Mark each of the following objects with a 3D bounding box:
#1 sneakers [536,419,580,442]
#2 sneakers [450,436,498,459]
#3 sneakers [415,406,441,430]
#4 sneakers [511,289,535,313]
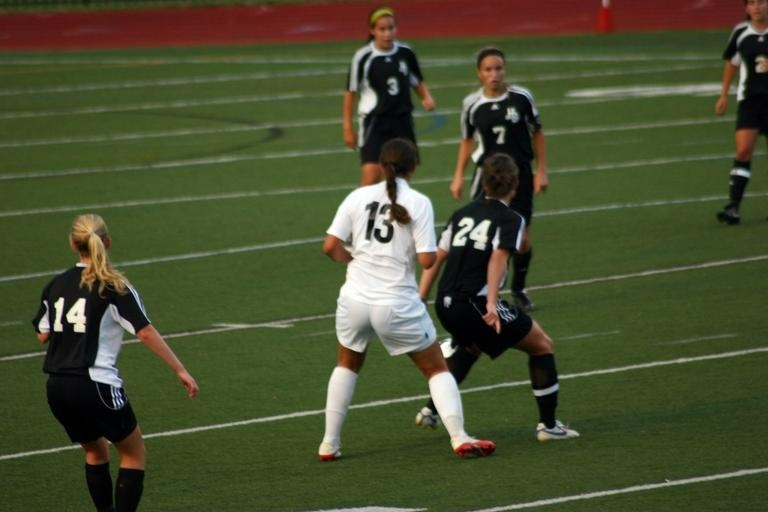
[{"bbox_3d":[1.882,1.920,15.262,0.554,0.204,0.187,-1,4,-12],"label":"sneakers"},{"bbox_3d":[0.987,2.033,14.869,0.451,0.202,0.221,1,22,-13],"label":"sneakers"},{"bbox_3d":[0.497,1.794,15.362,0.203,0.158,0.300,2,12,6],"label":"sneakers"},{"bbox_3d":[1.694,0.570,17.448,0.406,0.249,0.143,12,28,40],"label":"sneakers"}]
